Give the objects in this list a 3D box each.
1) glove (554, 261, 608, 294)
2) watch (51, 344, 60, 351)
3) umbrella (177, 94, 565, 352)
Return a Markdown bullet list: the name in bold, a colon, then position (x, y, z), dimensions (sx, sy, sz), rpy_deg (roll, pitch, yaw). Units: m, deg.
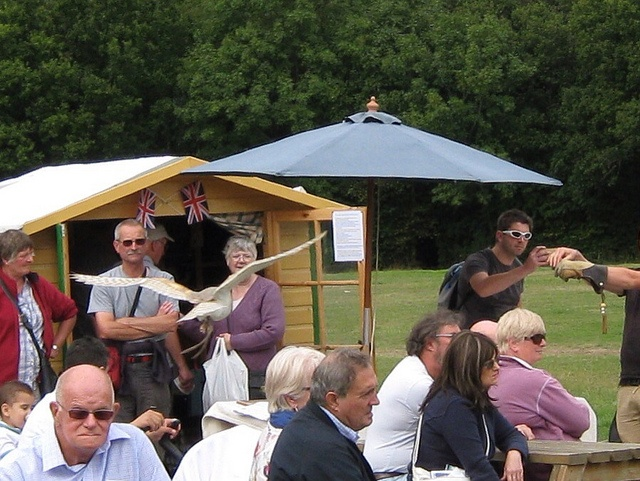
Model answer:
- **glove**: position (5.156, 0.757, 31.223), dimensions (0.786, 0.284, 0.734), rpy_deg (3, 6, -27)
- **watch**: position (-5.375, 2.218, 32.318), dimensions (0.127, 0.074, 0.107), rpy_deg (8, -33, -2)
- **umbrella**: position (0.954, -1.229, 32.841), dimensions (4.765, 2.827, 4.584), rpy_deg (15, 24, 22)
